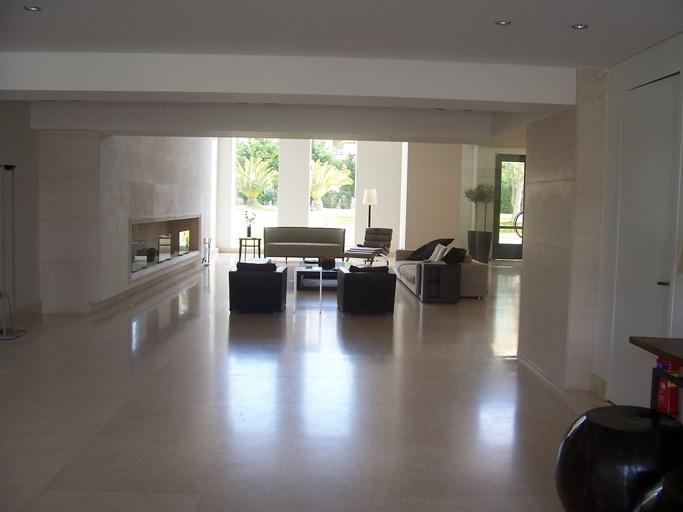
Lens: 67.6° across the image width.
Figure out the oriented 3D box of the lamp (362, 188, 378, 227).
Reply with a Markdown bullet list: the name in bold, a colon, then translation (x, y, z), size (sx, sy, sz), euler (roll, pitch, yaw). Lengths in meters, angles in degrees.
- **lamp**: translation (0.831, -1.387, 14.921), size (0.410, 1.131, 1.147), euler (2, 8, 4)

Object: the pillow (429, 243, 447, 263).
- **pillow**: translation (1.814, -0.047, 9.616), size (0.115, 0.348, 0.315), euler (27, -11, -20)

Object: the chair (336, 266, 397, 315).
- **chair**: translation (0.414, 0.447, 8.171), size (0.965, 0.784, 1.017), euler (5, 13, 14)

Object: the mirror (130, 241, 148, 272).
- **mirror**: translation (-3.587, -0.005, 9.084), size (0.118, 0.525, 0.774), euler (0, 8, -11)

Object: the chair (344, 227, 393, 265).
- **chair**: translation (0.711, -0.177, 13.175), size (0.827, 1.003, 1.318), euler (4, 9, 25)

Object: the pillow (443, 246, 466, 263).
- **pillow**: translation (1.998, 0.022, 9.064), size (0.294, 0.317, 0.149), euler (12, -14, 47)

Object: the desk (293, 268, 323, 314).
- **desk**: translation (-0.587, 0.491, 8.962), size (0.520, 0.551, 2.329), euler (1, 8, -2)

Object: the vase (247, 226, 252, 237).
- **vase**: translation (-2.517, -0.664, 13.831), size (0.071, 0.285, 0.196), euler (-1, 8, -17)

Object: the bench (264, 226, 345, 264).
- **bench**: translation (-0.981, -0.283, 13.448), size (2.083, 0.867, 1.193), euler (0, 8, -12)

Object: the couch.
- **couch**: translation (1.738, 0.277, 10.236), size (1.398, 0.767, 2.693), euler (-1, 9, -18)

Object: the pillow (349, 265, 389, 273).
- **pillow**: translation (0.413, 0.197, 7.830), size (0.596, 0.086, 0.205), euler (1, 8, -4)
